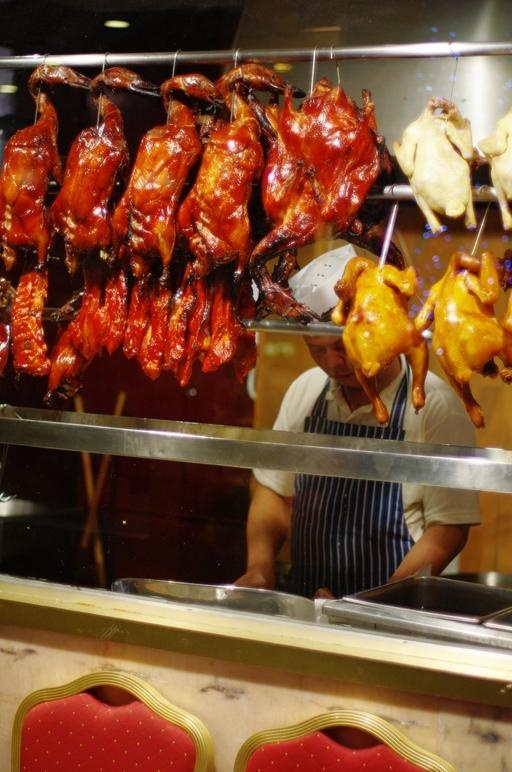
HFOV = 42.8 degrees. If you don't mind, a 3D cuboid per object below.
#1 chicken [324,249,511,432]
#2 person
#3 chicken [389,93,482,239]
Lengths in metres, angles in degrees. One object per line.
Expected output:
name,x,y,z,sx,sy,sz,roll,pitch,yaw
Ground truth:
chicken,0.290,-0.104,1.134,0.280,0.322,0.117,0,8,26
person,0.277,0.227,1.815,0.609,0.697,0.360,0,34,-1
chicken,0.315,-0.375,1.108,0.122,0.233,0.134,-3,8,-10
